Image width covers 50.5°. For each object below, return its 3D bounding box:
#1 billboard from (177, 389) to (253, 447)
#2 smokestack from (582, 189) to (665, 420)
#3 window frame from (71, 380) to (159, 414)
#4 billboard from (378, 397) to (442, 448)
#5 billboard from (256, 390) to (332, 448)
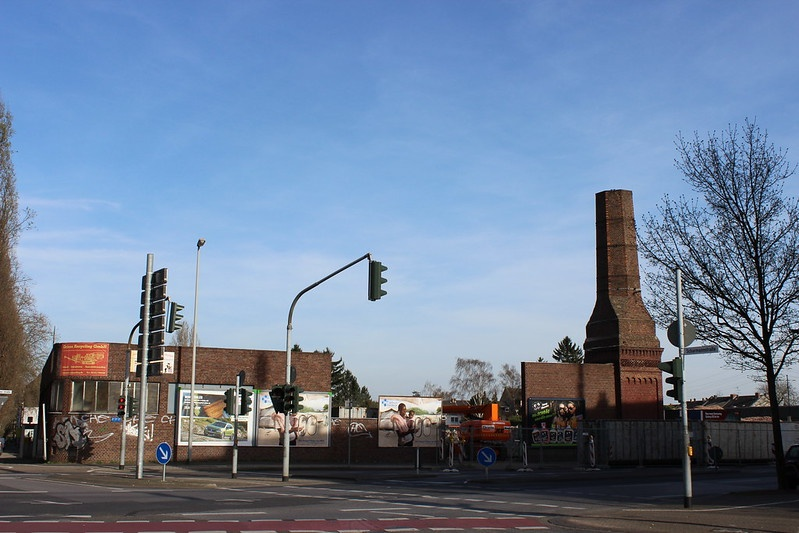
[{"bbox_3d":[-12.054,9.758,55.246,5.464,3.753,0.471,-2,-2,17],"label":"billboard"},{"bbox_3d":[20.778,3.806,76.208,8.043,21.527,7.764,-8,-9,39],"label":"smokestack"},{"bbox_3d":[-18.077,8.318,53.974,5.365,2.301,0.187,5,-32,-22],"label":"window frame"},{"bbox_3d":[0.837,10.611,58.306,4.830,3.347,0.158,-5,-12,27],"label":"billboard"},{"bbox_3d":[-6.767,9.666,52.953,6.837,4.554,0.217,0,-2,-7],"label":"billboard"}]
